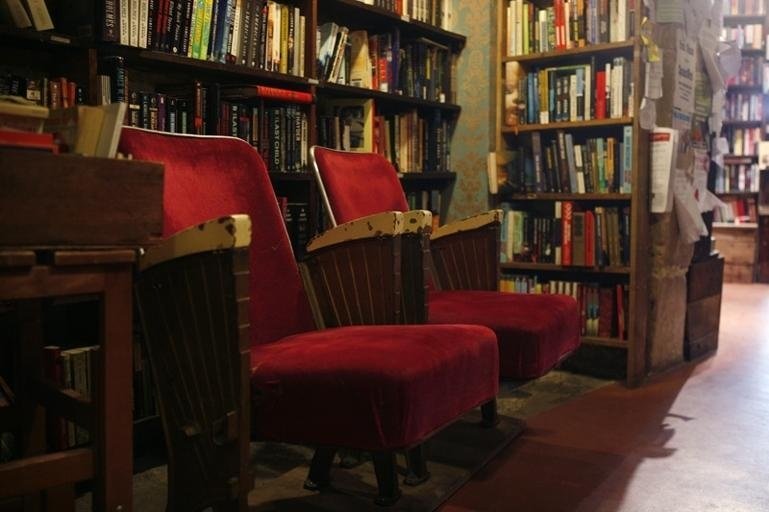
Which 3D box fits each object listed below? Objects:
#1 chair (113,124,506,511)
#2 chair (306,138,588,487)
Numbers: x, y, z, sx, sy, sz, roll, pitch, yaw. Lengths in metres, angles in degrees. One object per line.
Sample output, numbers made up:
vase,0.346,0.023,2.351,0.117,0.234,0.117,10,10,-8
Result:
chair,-0.275,0.115,2.271,1.097,1.159,0.862,-3,0,24
chair,0.080,0.065,2.720,0.798,0.961,1.064,-14,13,-28
